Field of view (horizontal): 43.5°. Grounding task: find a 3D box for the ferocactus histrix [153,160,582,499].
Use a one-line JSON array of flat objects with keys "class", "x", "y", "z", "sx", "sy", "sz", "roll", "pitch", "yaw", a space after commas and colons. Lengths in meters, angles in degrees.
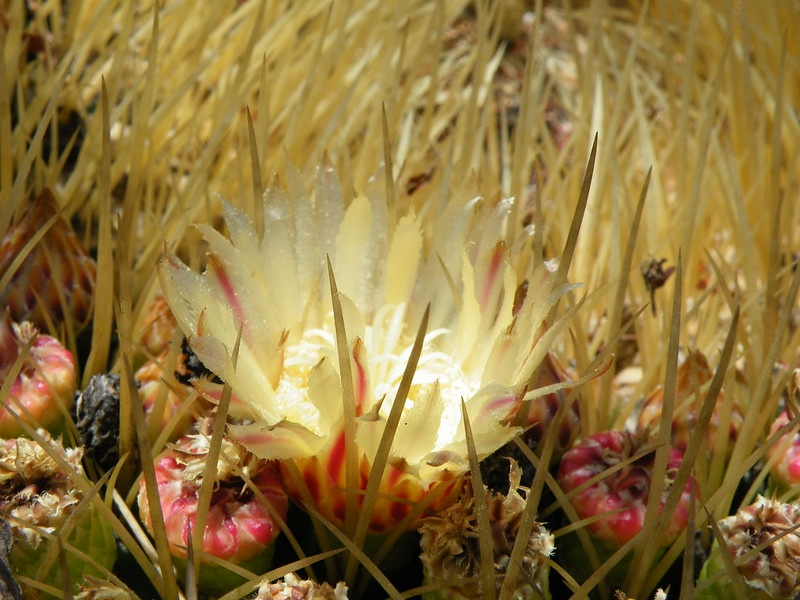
[{"class": "ferocactus histrix", "x": -0.141, "y": 0.082, "z": 0.927, "sx": 0.303, "sy": 0.245, "sz": 0.343, "roll": 10, "pitch": -19, "yaw": -20}]
